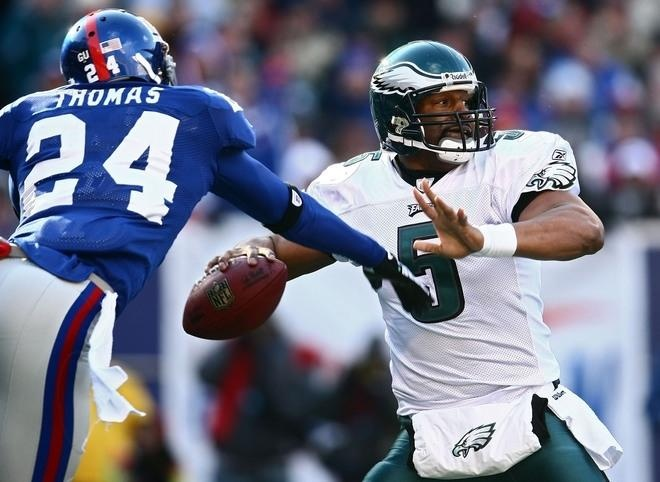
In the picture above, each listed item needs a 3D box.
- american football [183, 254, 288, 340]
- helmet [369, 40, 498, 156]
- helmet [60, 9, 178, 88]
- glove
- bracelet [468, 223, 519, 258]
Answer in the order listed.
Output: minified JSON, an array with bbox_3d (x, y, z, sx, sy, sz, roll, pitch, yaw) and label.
[{"bbox_3d":[-0.370,0.208,3.750,0.378,0.252,0.259,-26,-4,10],"label":"american football"},{"bbox_3d":[0.467,-0.578,3.943,0.391,0.438,0.520,-2,2,-43],"label":"helmet"},{"bbox_3d":[-0.807,-0.720,3.589,0.364,0.298,0.271,-10,8,-21],"label":"helmet"},{"bbox_3d":[0.273,0.157,3.666,0.162,0.263,0.108,-32,6,36],"label":"glove"},{"bbox_3d":[0.591,-0.009,3.460,0.169,0.130,0.117,-3,10,-21],"label":"bracelet"}]
